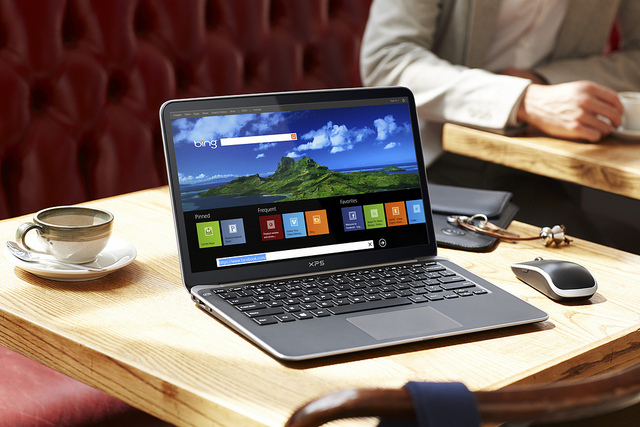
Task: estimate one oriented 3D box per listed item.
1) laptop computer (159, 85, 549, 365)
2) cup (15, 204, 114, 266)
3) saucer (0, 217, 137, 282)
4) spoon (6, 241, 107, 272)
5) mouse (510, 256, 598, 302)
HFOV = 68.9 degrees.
[{"bbox_3d":[0.006,0.018,0.696,0.529,0.266,0.416,-7,21,-28],"label":"laptop computer"},{"bbox_3d":[-0.360,0.030,0.646,0.098,0.046,0.120,22,22,33],"label":"cup"},{"bbox_3d":[-0.345,0.030,0.632,0.156,0.020,0.128,10,16,-3],"label":"saucer"},{"bbox_3d":[-0.362,0.059,0.635,0.146,0.015,0.022,9,14,10],"label":"spoon"},{"bbox_3d":[0.331,0.082,0.659,0.086,0.032,0.121,-1,12,-2],"label":"mouse"}]
